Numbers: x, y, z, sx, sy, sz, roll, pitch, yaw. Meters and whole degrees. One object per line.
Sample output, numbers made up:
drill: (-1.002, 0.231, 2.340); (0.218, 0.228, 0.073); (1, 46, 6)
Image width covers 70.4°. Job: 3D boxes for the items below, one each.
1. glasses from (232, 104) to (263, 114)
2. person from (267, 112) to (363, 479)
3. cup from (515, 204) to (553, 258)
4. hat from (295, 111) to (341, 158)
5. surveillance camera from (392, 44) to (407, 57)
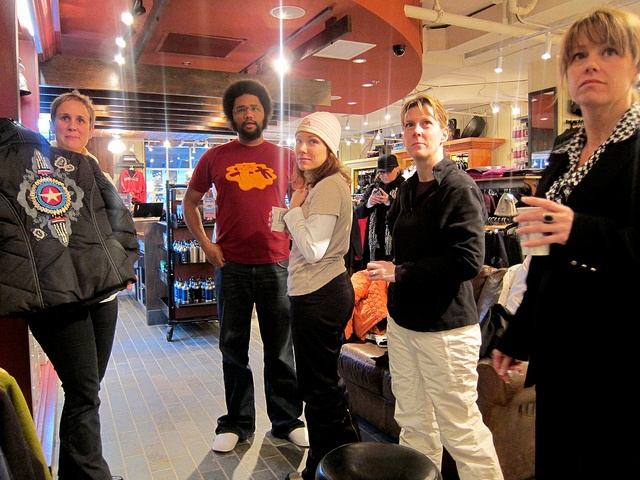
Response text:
glasses: (-0.492, -0.873, 3.041); (0.180, 0.053, 0.060); (0, 5, 1)
person: (0.001, 0.337, 2.541); (0.395, 2.102, 0.301); (-1, 4, -10)
cup: (0.670, -0.025, 1.443); (0.093, 0.156, 0.085); (1, 5, 15)
hat: (-0.023, -0.619, 2.616); (0.252, 0.229, 0.203); (-7, -23, 23)
surveillance camera: (0.980, -2.323, 5.600); (0.131, 0.093, 0.132); (-1, -6, -2)
